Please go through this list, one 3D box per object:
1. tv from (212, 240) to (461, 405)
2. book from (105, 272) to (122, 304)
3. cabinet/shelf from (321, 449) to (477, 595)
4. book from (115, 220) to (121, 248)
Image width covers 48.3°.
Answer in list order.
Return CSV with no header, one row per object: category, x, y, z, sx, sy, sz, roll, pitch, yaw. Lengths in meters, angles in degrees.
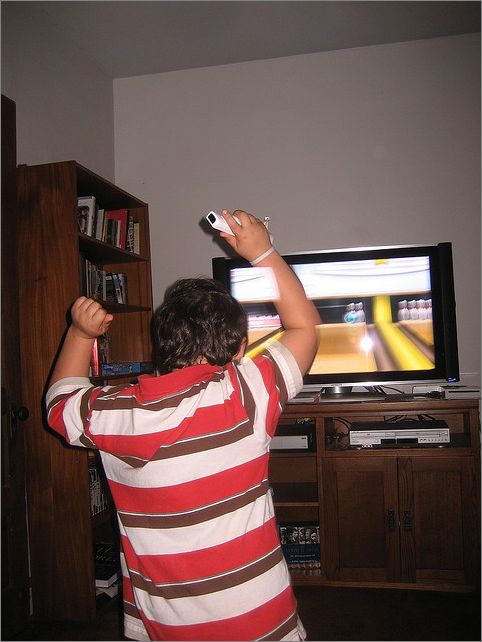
tv,0.441,0.015,2.031,0.705,0.482,0.080,-3,-3,11
book,-0.621,-0.159,2.626,0.120,0.126,0.036,1,-13,-44
cabinet/shelf,0.678,0.852,2.236,0.555,0.512,0.219,0,-5,8
book,-0.600,-0.426,2.626,0.025,0.111,0.107,2,8,-19
